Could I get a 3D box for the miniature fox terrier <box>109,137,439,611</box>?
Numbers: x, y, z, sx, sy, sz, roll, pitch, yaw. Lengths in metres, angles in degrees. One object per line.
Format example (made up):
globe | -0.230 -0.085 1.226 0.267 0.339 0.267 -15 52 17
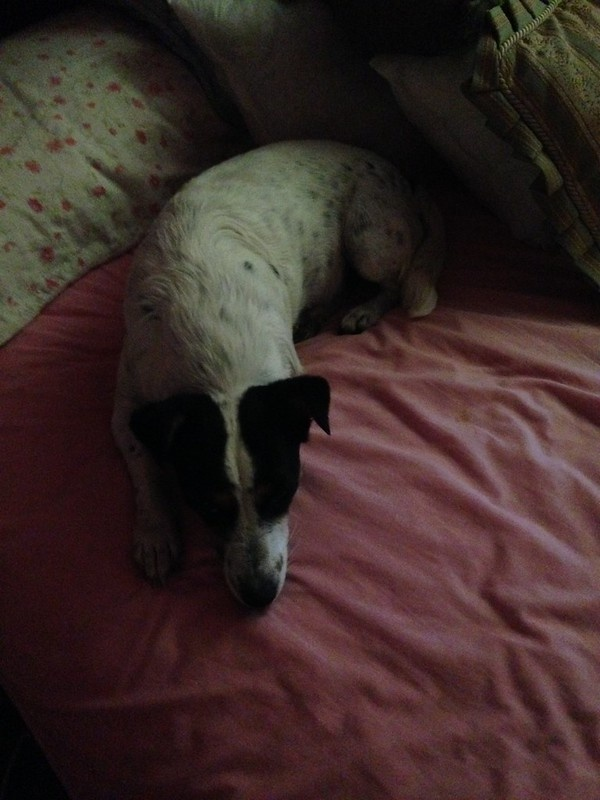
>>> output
miniature fox terrier | 0.142 -0.012 1.929 0.879 0.972 0.899 -5 50 -11
